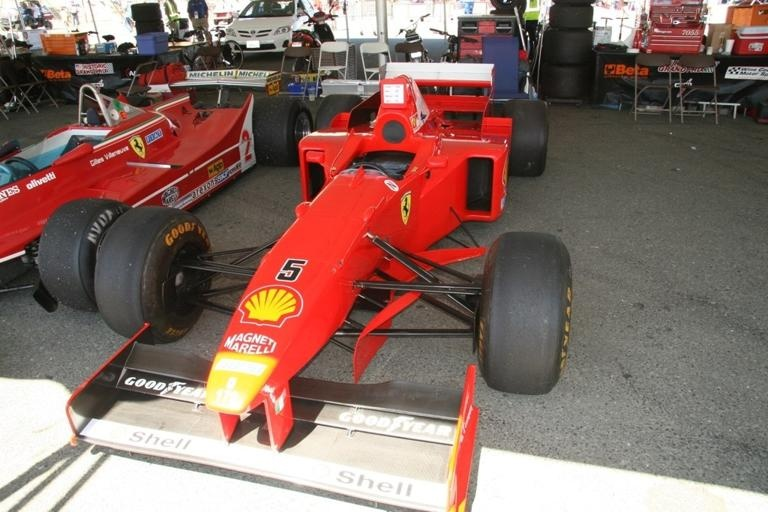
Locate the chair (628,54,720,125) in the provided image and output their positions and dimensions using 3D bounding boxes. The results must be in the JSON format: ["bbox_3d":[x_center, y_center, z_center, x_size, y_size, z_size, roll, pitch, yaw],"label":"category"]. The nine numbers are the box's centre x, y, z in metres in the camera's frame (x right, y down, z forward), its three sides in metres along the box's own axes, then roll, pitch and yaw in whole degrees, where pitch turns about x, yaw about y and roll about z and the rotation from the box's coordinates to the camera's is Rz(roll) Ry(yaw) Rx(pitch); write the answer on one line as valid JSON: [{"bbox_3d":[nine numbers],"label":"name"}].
[{"bbox_3d":[4.809,-2.750,8.572,1.156,1.055,0.740,2,33,14],"label":"chair"}]

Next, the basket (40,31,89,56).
[{"bbox_3d":[-6.740,-4.532,11.122,0.924,0.474,0.664,0,11,2],"label":"basket"}]

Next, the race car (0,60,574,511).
[{"bbox_3d":[0.017,0.025,4.238,2.984,1.374,4.183,7,29,16],"label":"race car"}]
